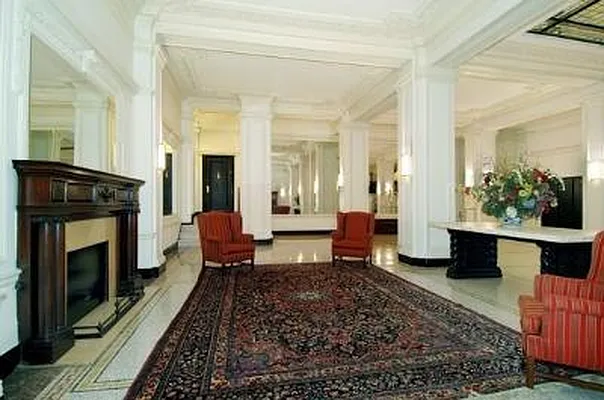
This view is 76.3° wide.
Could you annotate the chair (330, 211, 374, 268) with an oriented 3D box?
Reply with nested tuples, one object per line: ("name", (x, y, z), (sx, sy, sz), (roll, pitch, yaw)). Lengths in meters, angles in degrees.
("chair", (1.107, 0.786, 8.481), (1.052, 1.054, 1.055), (0, 3, -7))

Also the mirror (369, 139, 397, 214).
("mirror", (3.860, -0.820, 17.778), (0.951, 2.396, 0.914), (-3, 10, -18))

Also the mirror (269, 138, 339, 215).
("mirror", (-0.179, -1.090, 18.203), (2.103, 3.094, 7.748), (-1, 5, -10))

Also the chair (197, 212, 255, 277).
("chair", (-1.563, 0.797, 7.975), (1.185, 1.063, 1.141), (2, 4, 0))

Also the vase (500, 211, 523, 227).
("vase", (3.582, 0.326, 6.618), (0.261, 0.161, 0.244), (4, -4, -20))
